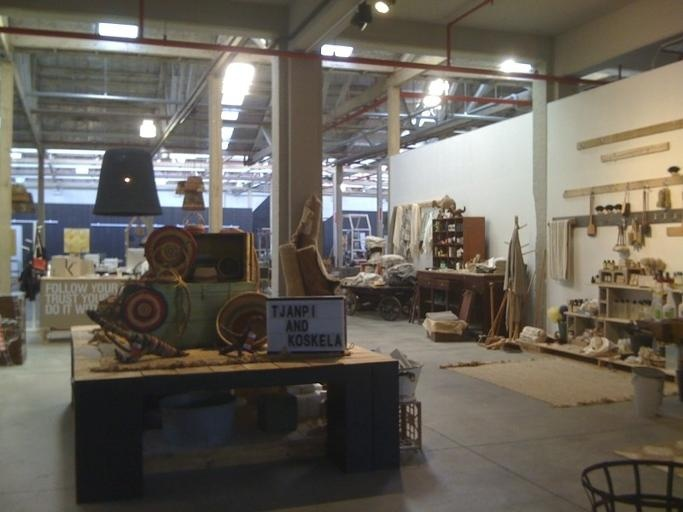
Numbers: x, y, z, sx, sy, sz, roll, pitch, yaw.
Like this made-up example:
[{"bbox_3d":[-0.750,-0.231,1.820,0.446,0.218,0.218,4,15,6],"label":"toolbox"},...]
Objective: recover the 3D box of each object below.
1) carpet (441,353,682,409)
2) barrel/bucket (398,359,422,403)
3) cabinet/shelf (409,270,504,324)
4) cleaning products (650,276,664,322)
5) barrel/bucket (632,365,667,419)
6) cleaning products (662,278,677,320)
[{"bbox_3d":[2.776,1.558,7.082,2.021,0.158,2.111,-2,6,-26],"label":"carpet"},{"bbox_3d":[0.567,1.107,4.825,0.271,0.248,0.257,-1,-1,0],"label":"barrel/bucket"},{"bbox_3d":[2.258,0.882,10.736,0.734,1.131,2.102,-4,3,-27],"label":"cabinet/shelf"},{"bbox_3d":[4.101,0.641,7.127,0.145,0.478,0.090,2,23,36],"label":"cleaning products"},{"bbox_3d":[3.062,1.387,5.658,0.408,0.467,0.431,-1,1,0],"label":"barrel/bucket"},{"bbox_3d":[4.150,0.533,6.918,0.163,0.424,0.445,4,6,31],"label":"cleaning products"}]
